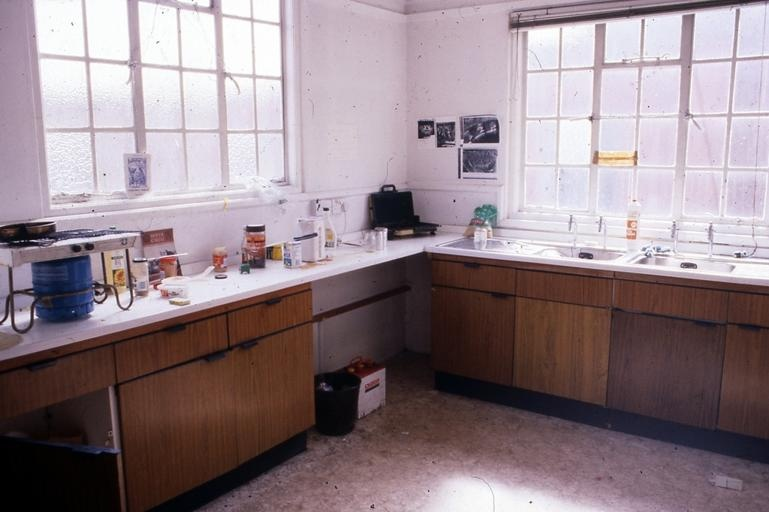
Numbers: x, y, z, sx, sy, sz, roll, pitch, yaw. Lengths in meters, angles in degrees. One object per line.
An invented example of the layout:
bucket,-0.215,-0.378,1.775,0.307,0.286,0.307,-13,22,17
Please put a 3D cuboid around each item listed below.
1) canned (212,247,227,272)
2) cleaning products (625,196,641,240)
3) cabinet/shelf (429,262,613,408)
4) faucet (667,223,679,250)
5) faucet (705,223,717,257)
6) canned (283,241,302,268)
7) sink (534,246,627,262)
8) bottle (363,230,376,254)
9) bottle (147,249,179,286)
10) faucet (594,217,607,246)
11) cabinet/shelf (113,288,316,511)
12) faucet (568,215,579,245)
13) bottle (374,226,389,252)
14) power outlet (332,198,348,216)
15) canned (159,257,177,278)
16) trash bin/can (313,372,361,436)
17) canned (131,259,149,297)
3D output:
canned,-1.112,0.014,3.830,0.100,0.145,0.171,-5,13,-17
cleaning products,1.874,-0.277,4.271,0.087,0.292,0.169,4,14,23
cabinet/shelf,1.082,0.578,4.600,1.502,1.033,0.803,6,-4,13
faucet,2.150,-0.149,4.201,0.058,0.227,0.198,5,14,26
faucet,2.374,-0.127,4.113,0.065,0.238,0.216,6,15,29
canned,-0.624,-0.015,3.862,0.118,0.176,0.098,-5,13,-15
sink,1.492,-0.012,4.320,0.633,0.079,0.263,5,14,27
bottle,-0.120,-0.130,4.557,0.112,0.178,0.186,-1,8,-7
bottle,-1.412,0.077,3.559,0.233,0.228,0.135,-2,7,-20
faucet,1.697,-0.193,4.407,0.079,0.220,0.288,3,13,18
cabinet/shelf,-1.026,0.836,3.285,0.660,1.047,1.238,2,8,35
faucet,1.506,-0.215,4.515,0.078,0.232,0.171,3,14,19
bottle,-0.025,-0.145,4.425,0.077,0.156,0.200,0,13,7
power outlet,-0.364,-0.410,4.646,0.102,0.171,0.201,2,8,27
canned,-1.356,0.066,3.564,0.120,0.184,0.122,-2,7,-28
trash bin/can,-0.318,1.054,4.145,0.372,0.305,0.403,4,5,38
canned,-1.449,0.128,3.368,0.101,0.217,0.101,-2,5,-9
